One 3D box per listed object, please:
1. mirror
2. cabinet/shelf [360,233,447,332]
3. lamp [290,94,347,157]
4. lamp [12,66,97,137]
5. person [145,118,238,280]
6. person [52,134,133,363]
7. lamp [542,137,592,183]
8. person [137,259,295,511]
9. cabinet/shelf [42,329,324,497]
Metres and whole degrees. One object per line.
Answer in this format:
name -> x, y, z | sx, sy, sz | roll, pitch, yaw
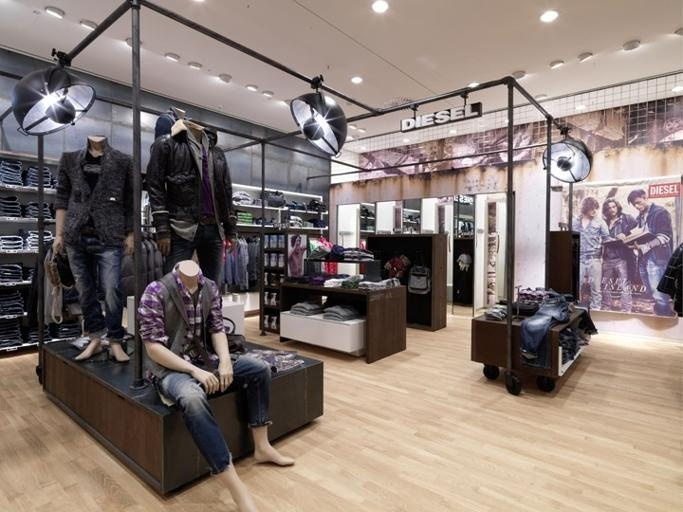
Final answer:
mirror -> 1.688, -0.826, 10.661 | 2.988, 0.860, 0.474 | 1, 3, 44
cabinet/shelf -> 1.161, 0.420, 8.810 | 1.534, 1.665, 0.565 | 1, 1, 42
lamp -> -0.254, -1.614, 5.848 | 0.444, 0.688, 0.639 | 0, 2, 31
lamp -> -3.305, -1.717, 5.519 | 0.712, 0.628, 0.753 | -24, 41, -19
person -> -1.409, -0.509, 4.590 | 0.284, 1.529, 0.800 | 1, 3, 43
person -> -2.487, -0.099, 4.931 | 0.870, 2.282, 0.524 | 0, 2, 26
lamp -> 3.494, -1.467, 7.332 | 0.541, 0.654, 0.580 | 0, 2, 26
person -> -1.065, 1.011, 3.950 | 1.102, 1.940, 0.877 | -2, 2, -23
cabinet/shelf -> -1.905, 1.344, 5.294 | 2.651, 0.620, 1.895 | 12, 9, 39
